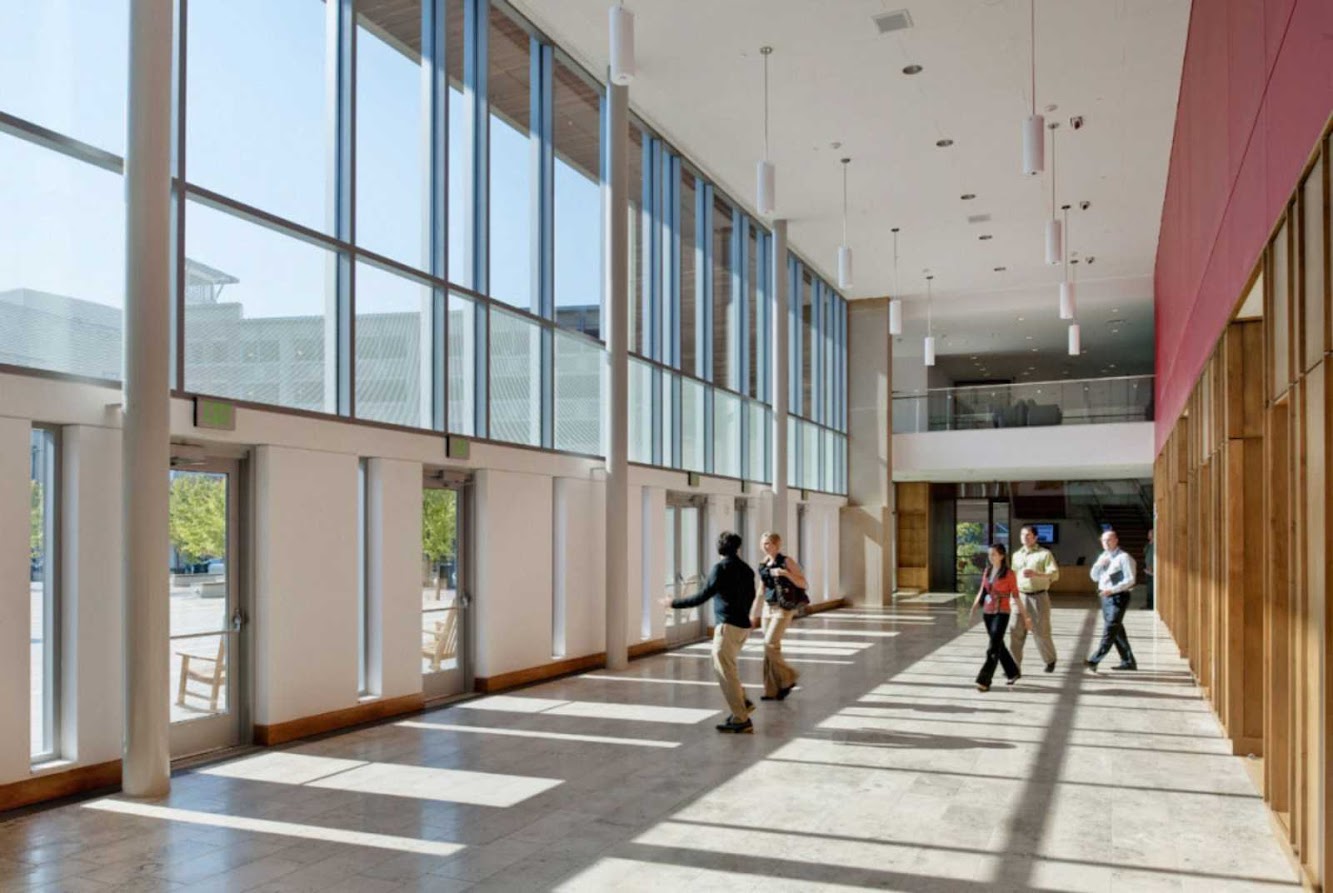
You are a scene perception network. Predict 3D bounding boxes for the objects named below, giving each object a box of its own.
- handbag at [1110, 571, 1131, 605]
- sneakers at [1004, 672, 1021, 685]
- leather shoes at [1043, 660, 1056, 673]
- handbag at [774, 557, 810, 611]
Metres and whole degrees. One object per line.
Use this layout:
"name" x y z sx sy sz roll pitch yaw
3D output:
"handbag" 6.421 1.976 13.999 0.230 0.493 0.654 -2 -3 33
"sneakers" 4.598 3.137 13.330 0.107 0.144 0.337 -8 -28 20
"leather shoes" 5.461 3.179 14.245 0.082 0.110 0.252 -6 -21 27
"handbag" 1.522 1.671 12.120 0.316 0.675 0.497 -1 -3 18
